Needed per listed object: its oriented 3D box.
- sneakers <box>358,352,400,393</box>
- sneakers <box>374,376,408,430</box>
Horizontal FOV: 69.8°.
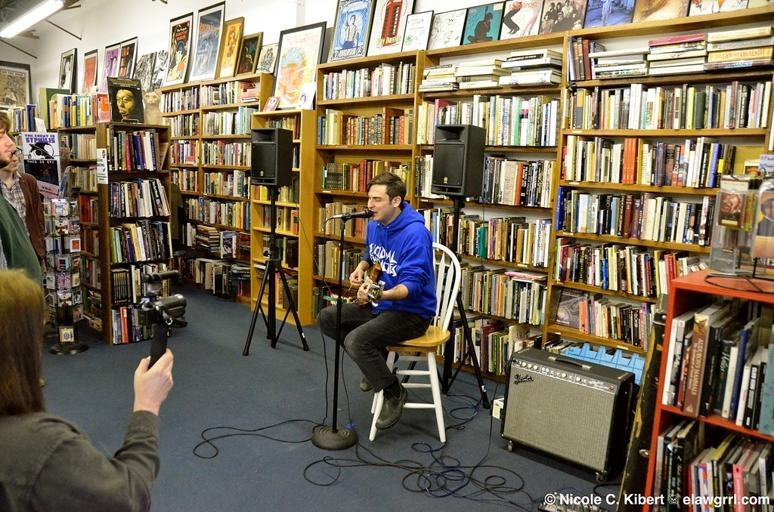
[{"bbox_3d":[-0.074,0.897,4.161,0.192,0.221,0.554,3,-6,20],"label":"sneakers"},{"bbox_3d":[0.015,1.069,3.875,0.230,0.377,0.140,-7,17,-27],"label":"sneakers"}]
